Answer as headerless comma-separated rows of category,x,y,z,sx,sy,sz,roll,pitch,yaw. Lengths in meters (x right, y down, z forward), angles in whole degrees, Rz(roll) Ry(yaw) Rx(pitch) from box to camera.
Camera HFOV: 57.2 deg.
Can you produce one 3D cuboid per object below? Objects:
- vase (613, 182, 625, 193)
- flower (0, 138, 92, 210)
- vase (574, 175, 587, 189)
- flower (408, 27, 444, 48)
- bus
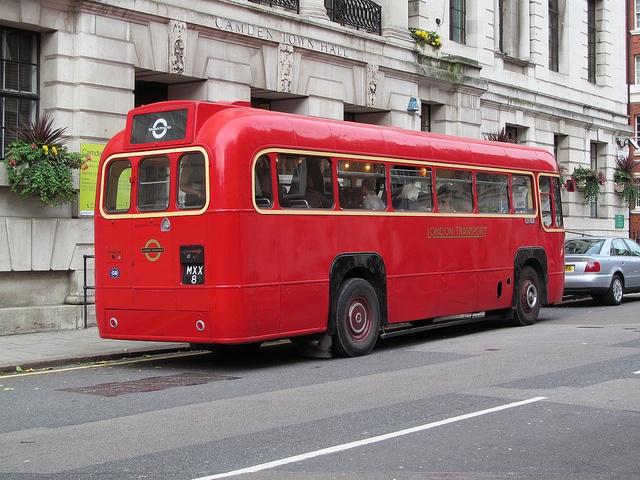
vase,18.022,-3.210,35.404,0.548,0.611,0.442,0,1,-9
flower,-6.218,-1.592,13.212,1.436,1.201,1.142,2,9,-30
vase,14.151,-3.142,31.906,0.921,0.713,0.270,0,-2,-37
flower,4.171,-8.125,23.271,1.706,0.757,0.317,0,-2,-37
bus,1.273,-0.157,13.210,11.934,4.716,2.968,1,-2,-41
